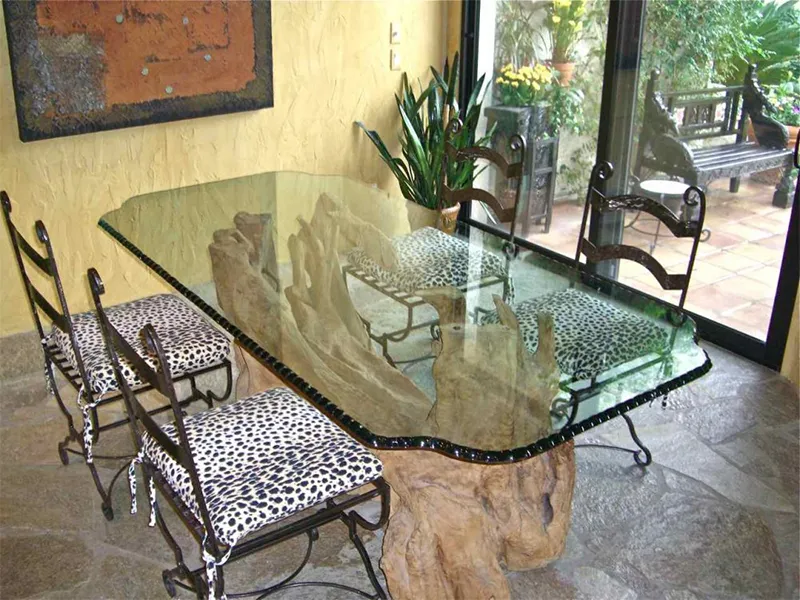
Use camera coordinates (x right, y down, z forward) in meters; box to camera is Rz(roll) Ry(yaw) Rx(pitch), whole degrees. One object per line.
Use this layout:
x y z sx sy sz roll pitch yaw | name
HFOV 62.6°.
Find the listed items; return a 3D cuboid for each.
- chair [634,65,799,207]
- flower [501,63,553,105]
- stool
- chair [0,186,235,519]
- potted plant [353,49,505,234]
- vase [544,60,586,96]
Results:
1.632 -0.838 3.316 0.623 0.680 0.378 -19 39 -8 | chair
0.804 -1.388 4.255 0.063 0.267 0.484 -14 27 -30 | flower
1.322 -0.403 3.242 0.283 0.363 0.289 -27 41 -17 | stool
-1.179 0.235 2.708 0.636 1.232 0.637 -19 50 -31 | chair
0.220 -0.851 4.462 0.836 1.207 0.885 12 2 19 | potted plant
0.996 -1.375 4.007 0.162 0.152 0.170 -20 38 -16 | vase
